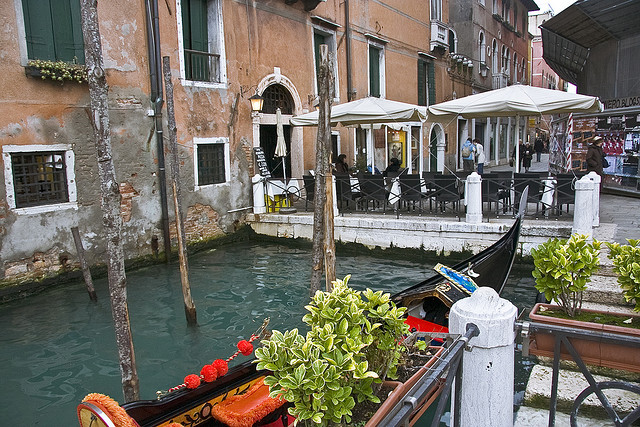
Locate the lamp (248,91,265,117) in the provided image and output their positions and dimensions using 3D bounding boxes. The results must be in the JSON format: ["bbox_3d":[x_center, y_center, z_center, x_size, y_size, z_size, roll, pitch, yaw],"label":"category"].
[{"bbox_3d":[-1.721,-3.092,14.165,0.466,0.696,0.521,1,17,7],"label":"lamp"}]

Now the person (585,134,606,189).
[{"bbox_3d":[7.834,-1.374,14.136,0.548,1.609,0.445,-15,24,-1],"label":"person"}]

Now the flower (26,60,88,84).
[{"bbox_3d":[-5.480,-2.937,10.388,1.178,0.457,0.342,-8,10,-37],"label":"flower"}]
